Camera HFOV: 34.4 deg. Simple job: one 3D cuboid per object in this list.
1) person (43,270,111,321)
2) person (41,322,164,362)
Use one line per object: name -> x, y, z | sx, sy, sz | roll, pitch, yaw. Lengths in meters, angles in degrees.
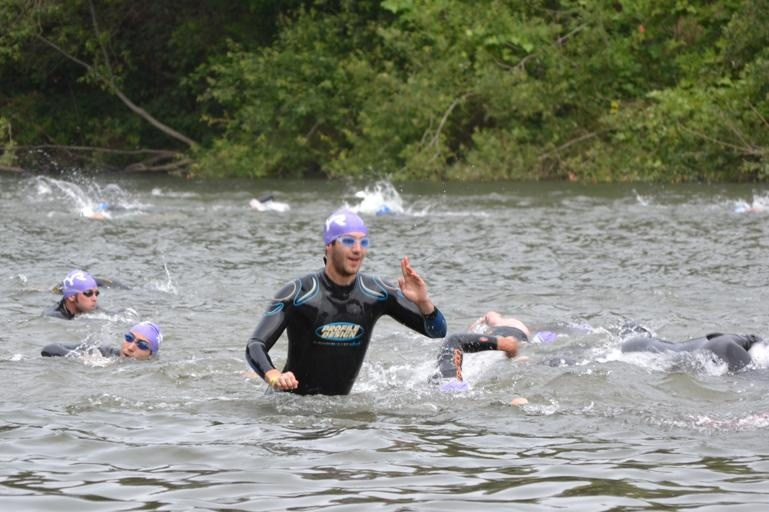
person -> -6.148, 0.793, 25.081 | 1.002, 0.885, 1.259 | 7, 8, 23
person -> -5.119, 1.597, 23.032 | 1.877, 0.588, 0.444 | -2, 13, -8
